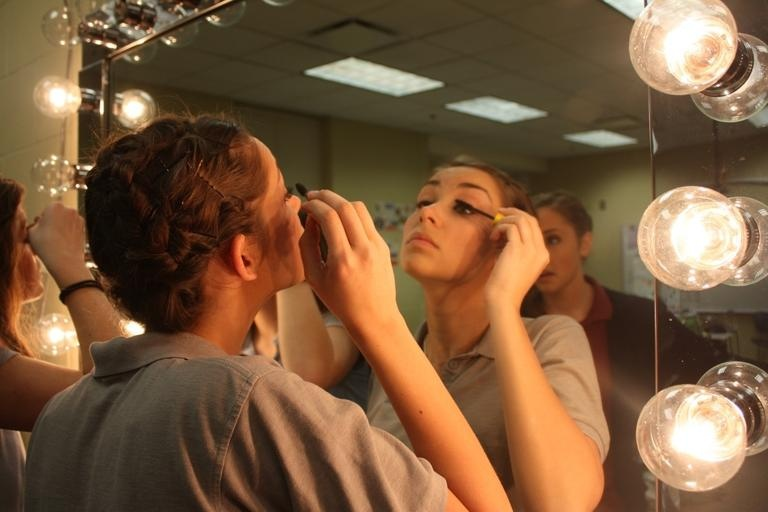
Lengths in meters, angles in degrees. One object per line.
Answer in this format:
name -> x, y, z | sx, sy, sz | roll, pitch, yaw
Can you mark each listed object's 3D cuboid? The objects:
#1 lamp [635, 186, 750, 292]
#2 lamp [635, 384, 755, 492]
lamp -> 0.440, -0.024, 1.040 | 0.143, 0.148, 0.084 | -29, 1, 25
lamp -> 0.441, 0.268, 1.057 | 0.151, 0.137, 0.094 | -17, -6, 10
